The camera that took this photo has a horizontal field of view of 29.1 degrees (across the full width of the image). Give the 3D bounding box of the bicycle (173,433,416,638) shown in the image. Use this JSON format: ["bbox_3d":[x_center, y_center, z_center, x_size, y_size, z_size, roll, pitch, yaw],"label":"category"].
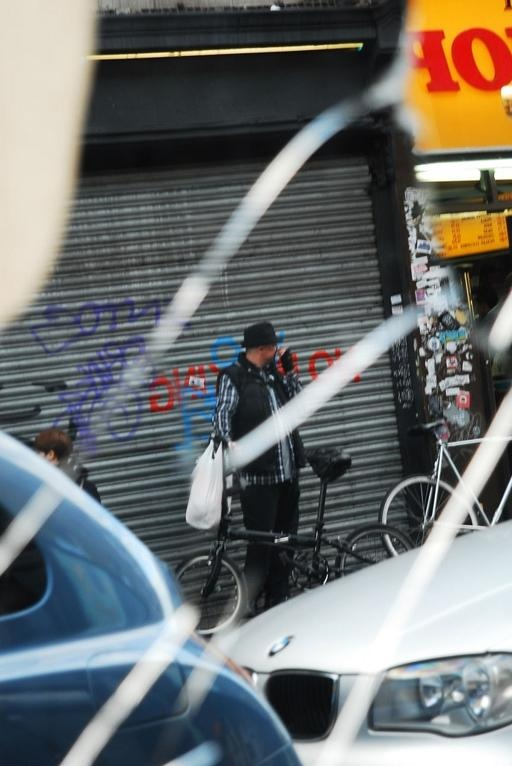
[{"bbox_3d":[0.194,0.983,5.994,1.555,1.135,0.784,-9,22,0],"label":"bicycle"}]

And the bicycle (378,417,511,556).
[{"bbox_3d":[1.327,0.725,7.174,1.255,0.869,0.609,-12,-1,-23],"label":"bicycle"}]
